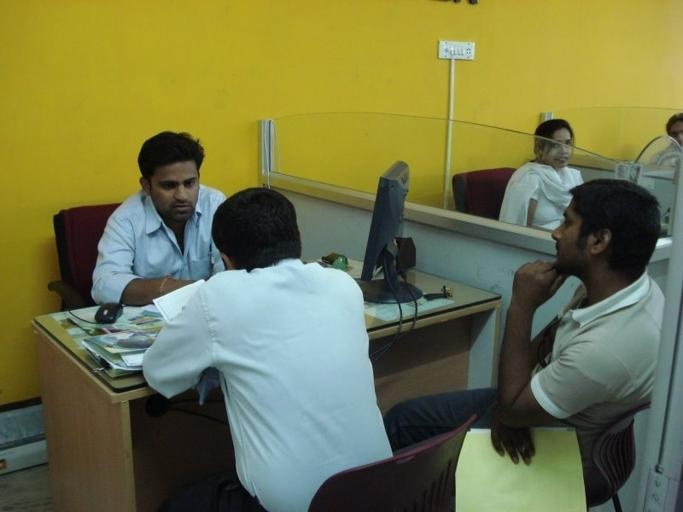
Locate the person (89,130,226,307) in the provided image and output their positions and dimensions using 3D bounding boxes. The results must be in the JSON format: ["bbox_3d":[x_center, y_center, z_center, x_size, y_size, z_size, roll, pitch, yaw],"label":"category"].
[{"bbox_3d":[-0.750,-0.139,2.365,0.502,0.806,0.440,-12,30,-36],"label":"person"}]

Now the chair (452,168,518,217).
[{"bbox_3d":[0.547,-0.253,2.340,0.204,0.200,0.172,-14,-13,-12],"label":"chair"}]

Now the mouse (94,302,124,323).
[{"bbox_3d":[-0.788,0.184,2.034,0.072,0.045,0.121,-2,19,-8],"label":"mouse"}]

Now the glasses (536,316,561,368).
[{"bbox_3d":[0.652,0.272,1.885,0.061,0.125,0.089,13,38,10],"label":"glasses"}]

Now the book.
[{"bbox_3d":[-0.643,0.272,1.788,0.137,0.037,0.138,-6,25,-44],"label":"book"}]
